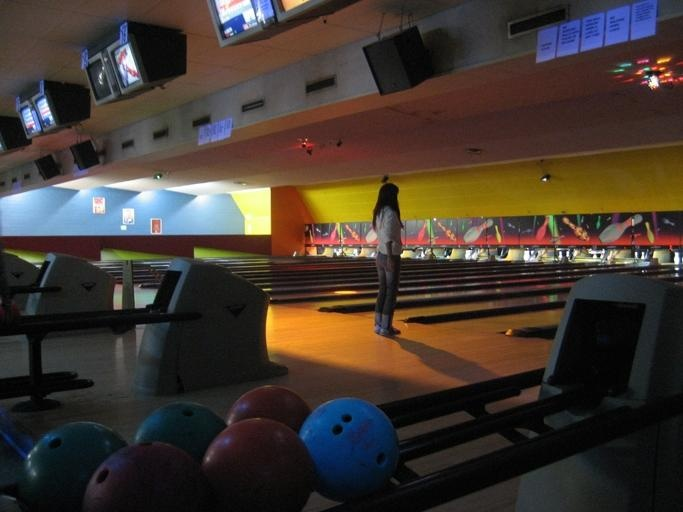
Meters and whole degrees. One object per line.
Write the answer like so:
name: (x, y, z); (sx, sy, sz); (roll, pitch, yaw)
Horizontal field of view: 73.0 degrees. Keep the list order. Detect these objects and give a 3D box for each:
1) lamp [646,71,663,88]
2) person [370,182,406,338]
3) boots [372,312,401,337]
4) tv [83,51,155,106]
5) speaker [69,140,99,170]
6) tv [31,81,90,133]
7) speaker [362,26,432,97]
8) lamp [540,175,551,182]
lamp: (3.523, -1.991, 5.240); (0.155, 0.220, 0.092); (-5, 1, -7)
person: (0.357, 0.022, 3.583); (0.212, 1.220, 0.551); (0, 0, 4)
boots: (0.389, 0.551, 3.722); (0.098, 0.191, 0.279); (5, 7, 44)
tv: (-2.312, -1.841, 4.748); (0.394, 0.447, 0.679); (-25, 8, -37)
speaker: (-5.061, -1.976, 9.116); (0.678, 0.619, 0.176); (-19, 6, 26)
tv: (-3.746, -2.050, 6.195); (0.603, 0.623, 0.878); (-2, 0, -28)
speaker: (0.501, -1.886, 4.559); (0.632, 0.633, 0.621); (-18, 38, -25)
lamp: (4.744, -1.798, 10.745); (0.177, 0.082, 0.227); (-1, 7, 23)
